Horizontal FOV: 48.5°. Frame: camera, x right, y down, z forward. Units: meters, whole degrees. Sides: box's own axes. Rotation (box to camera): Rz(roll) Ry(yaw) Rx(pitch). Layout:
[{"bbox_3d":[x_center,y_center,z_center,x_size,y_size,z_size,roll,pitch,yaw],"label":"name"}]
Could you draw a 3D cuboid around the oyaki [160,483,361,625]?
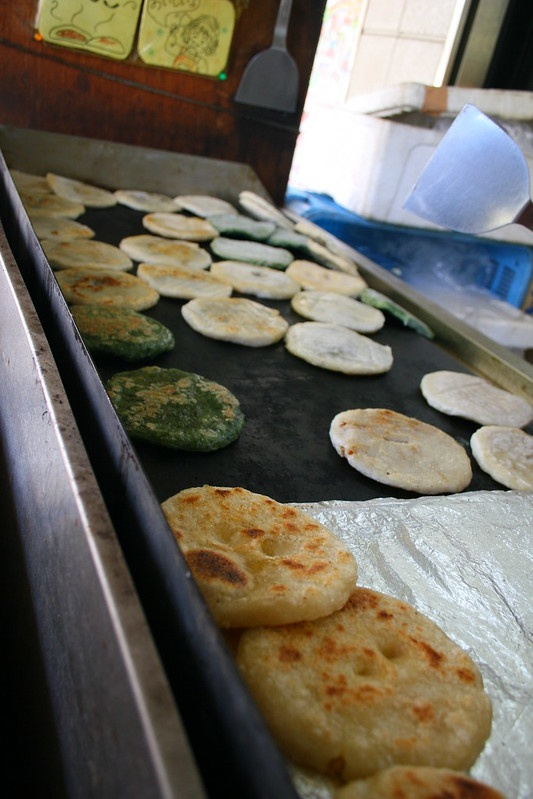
[{"bbox_3d":[-0.022,0.192,0.798,0.216,0.045,0.316,-13,23,-34],"label":"oyaki"}]
